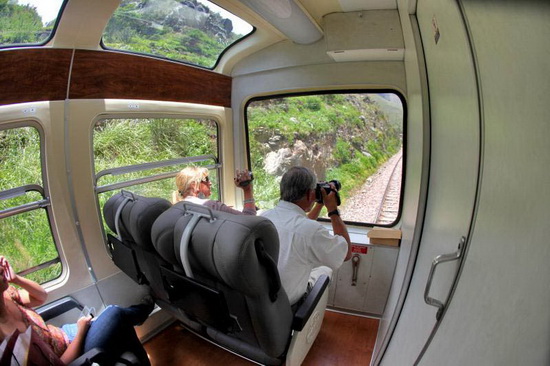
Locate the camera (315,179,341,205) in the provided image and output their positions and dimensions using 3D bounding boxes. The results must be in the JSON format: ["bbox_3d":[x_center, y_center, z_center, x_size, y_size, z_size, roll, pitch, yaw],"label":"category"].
[{"bbox_3d":[0.501,0.083,3.273,0.227,0.089,0.221,-3,24,-5],"label":"camera"}]

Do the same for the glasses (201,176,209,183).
[{"bbox_3d":[-0.727,-0.036,3.624,0.054,0.043,0.056,-10,10,-17],"label":"glasses"}]

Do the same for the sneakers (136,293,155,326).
[{"bbox_3d":[-1.169,1.126,3.159,0.103,0.265,0.265,7,52,-6],"label":"sneakers"}]

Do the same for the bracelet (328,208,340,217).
[{"bbox_3d":[0.571,0.266,3.283,0.073,0.039,0.085,3,16,41],"label":"bracelet"}]

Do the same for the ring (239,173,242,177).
[{"bbox_3d":[-0.369,-0.091,3.773,0.027,0.028,0.020,-5,-7,25],"label":"ring"}]

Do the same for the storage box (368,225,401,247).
[{"bbox_3d":[1.196,0.581,3.808,0.352,0.173,0.177,1,8,15],"label":"storage box"}]
